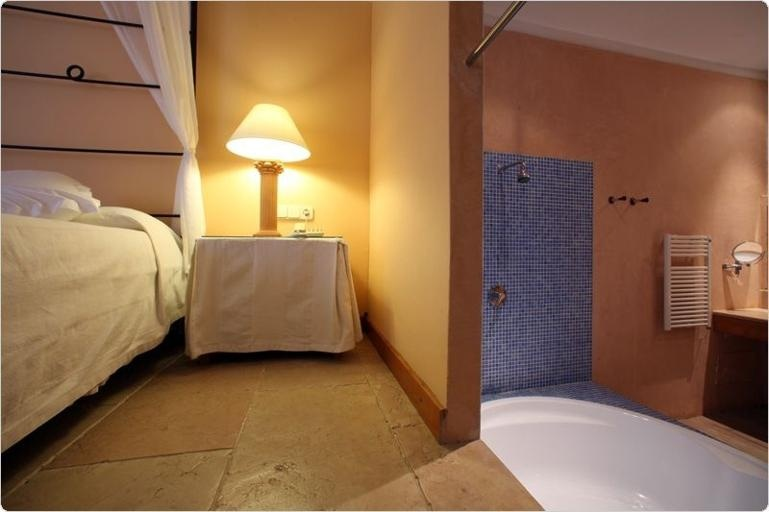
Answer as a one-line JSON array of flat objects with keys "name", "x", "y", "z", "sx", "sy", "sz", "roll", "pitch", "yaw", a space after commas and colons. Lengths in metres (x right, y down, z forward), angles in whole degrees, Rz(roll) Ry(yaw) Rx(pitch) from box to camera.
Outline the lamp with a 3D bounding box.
[{"name": "lamp", "x": -0.869, "y": -0.680, "z": 3.744, "sx": 0.590, "sy": 1.016, "sz": 0.480, "roll": 0, "pitch": 6, "yaw": -6}]

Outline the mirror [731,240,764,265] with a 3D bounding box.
[{"name": "mirror", "x": 2.839, "y": -0.024, "z": 3.908, "sx": 0.198, "sy": 0.193, "sz": 0.239, "roll": 5, "pitch": 7, "yaw": 36}]

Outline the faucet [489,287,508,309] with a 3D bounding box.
[{"name": "faucet", "x": 0.776, "y": 0.282, "z": 3.456, "sx": 0.110, "sy": 0.147, "sz": 0.055, "roll": 6, "pitch": -8, "yaw": 27}]

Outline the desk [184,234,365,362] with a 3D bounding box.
[{"name": "desk", "x": -0.779, "y": 0.275, "z": 3.691, "sx": 1.271, "sy": 0.806, "sz": 0.955, "roll": 1, "pitch": 2, "yaw": -3}]
